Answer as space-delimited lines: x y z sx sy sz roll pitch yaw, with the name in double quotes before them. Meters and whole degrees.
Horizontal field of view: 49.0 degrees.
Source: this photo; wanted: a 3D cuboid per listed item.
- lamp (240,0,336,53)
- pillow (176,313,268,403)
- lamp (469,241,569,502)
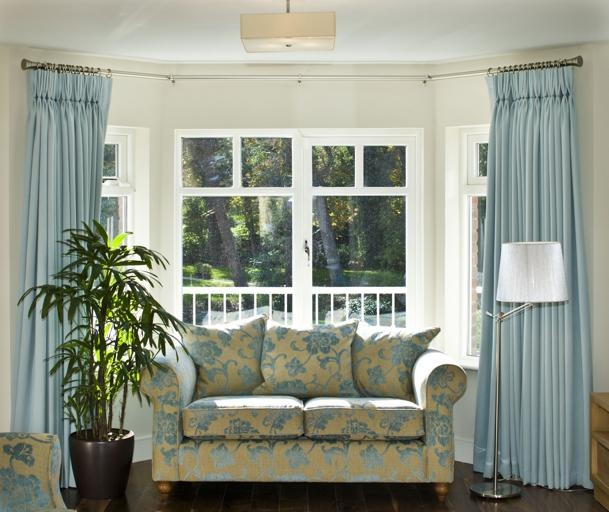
"lamp" -0.083 -1.231 3.665 0.502 0.191 0.214 1 7 5
"pillow" -0.577 0.618 4.609 0.698 0.700 0.386 -2 -1 -10
"lamp" 1.382 0.702 4.271 0.531 1.607 0.576 3 7 22
